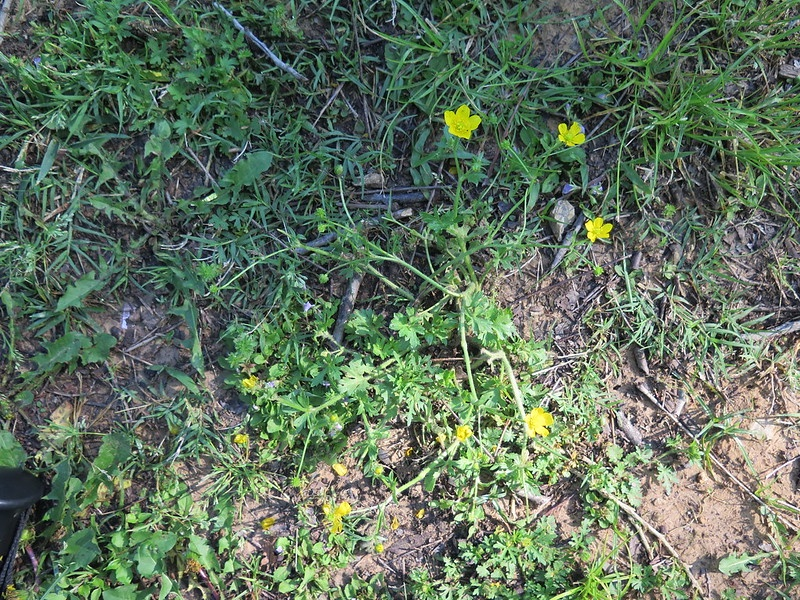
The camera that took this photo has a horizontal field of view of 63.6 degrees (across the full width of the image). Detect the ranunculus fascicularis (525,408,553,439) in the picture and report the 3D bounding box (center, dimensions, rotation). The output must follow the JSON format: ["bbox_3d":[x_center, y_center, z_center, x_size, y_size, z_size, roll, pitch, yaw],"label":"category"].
[{"bbox_3d":[0.777,0.695,3.633,0.159,0.156,0.152,-14,75,-4],"label":"ranunculus fascicularis"}]
